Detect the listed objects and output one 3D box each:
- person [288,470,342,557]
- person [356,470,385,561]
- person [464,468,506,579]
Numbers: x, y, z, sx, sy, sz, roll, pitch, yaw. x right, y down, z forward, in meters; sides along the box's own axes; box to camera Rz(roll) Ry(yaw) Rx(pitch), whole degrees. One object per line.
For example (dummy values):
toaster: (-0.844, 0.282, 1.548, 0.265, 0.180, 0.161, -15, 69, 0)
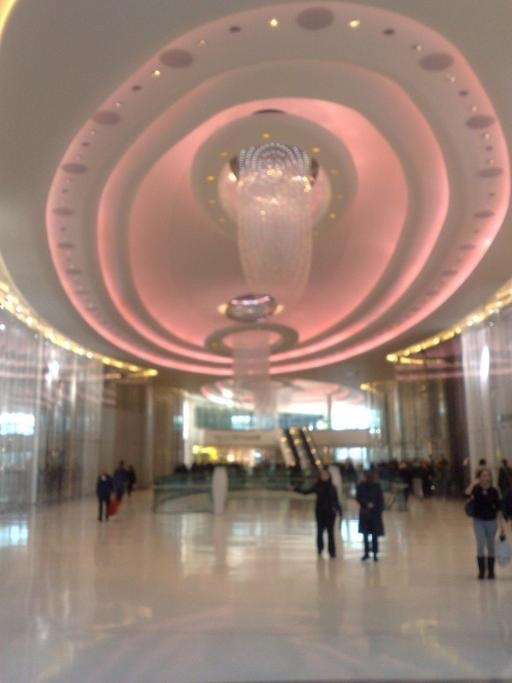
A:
person: (1.036, 2.766, 8.026, 0.569, 1.449, 1.393, -2, -12, 6)
person: (1.778, 2.743, 7.844, 0.372, 1.468, 1.494, -3, -12, 13)
person: (3.052, 2.497, 6.747, 0.420, 1.598, 1.483, -5, -12, 22)
